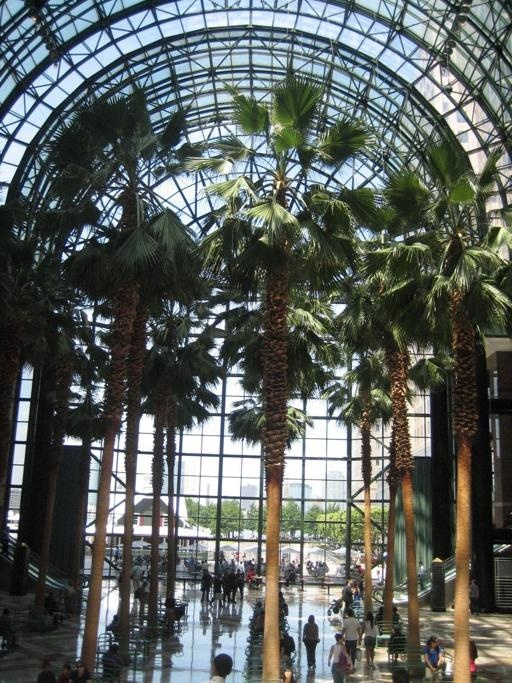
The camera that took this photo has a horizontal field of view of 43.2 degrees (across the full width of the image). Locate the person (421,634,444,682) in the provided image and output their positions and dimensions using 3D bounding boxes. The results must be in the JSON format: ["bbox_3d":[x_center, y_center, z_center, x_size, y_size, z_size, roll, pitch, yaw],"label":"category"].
[{"bbox_3d":[3.484,6.241,12.761,0.365,0.904,1.892,-3,-20,14],"label":"person"}]

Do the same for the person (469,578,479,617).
[{"bbox_3d":[9.022,10.535,26.809,0.393,1.453,2.390,-4,-20,17],"label":"person"}]
